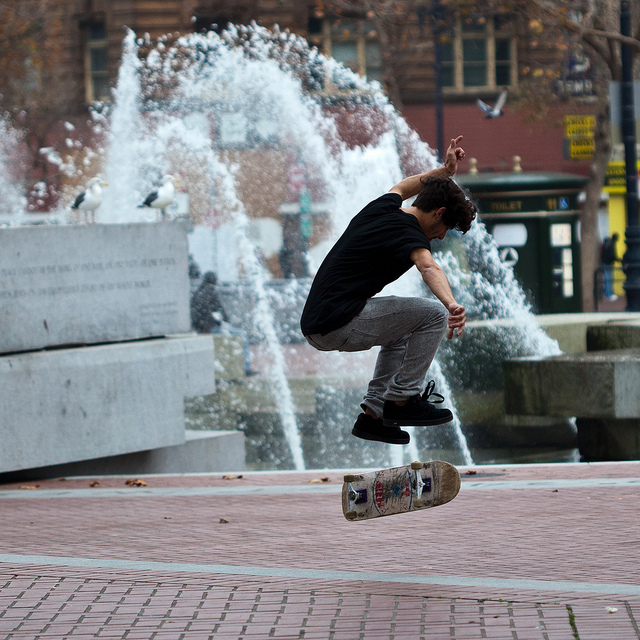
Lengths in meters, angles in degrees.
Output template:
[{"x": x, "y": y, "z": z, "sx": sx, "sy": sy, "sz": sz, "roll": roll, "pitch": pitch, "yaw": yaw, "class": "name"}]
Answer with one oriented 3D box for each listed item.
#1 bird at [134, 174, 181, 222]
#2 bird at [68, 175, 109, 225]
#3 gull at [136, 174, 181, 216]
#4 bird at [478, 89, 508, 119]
[{"x": -1.702, "y": -1.321, "z": 17.931, "sx": 0.554, "sy": 0.515, "sz": 0.273, "roll": 6, "pitch": 5, "yaw": 40, "class": "bird"}, {"x": -2.397, "y": -1.267, "z": 17.392, "sx": 0.548, "sy": 0.502, "sz": 0.272, "roll": 11, "pitch": 11, "yaw": 41, "class": "bird"}, {"x": -1.732, "y": -1.332, "z": 17.946, "sx": 0.581, "sy": 0.502, "sz": 0.282, "roll": 5, "pitch": 7, "yaw": 27, "class": "gull"}, {"x": 3.197, "y": -3.929, "z": 30.705, "sx": 0.621, "sy": 0.583, "sz": 0.455, "roll": -7, "pitch": -4, "yaw": -26, "class": "bird"}]
